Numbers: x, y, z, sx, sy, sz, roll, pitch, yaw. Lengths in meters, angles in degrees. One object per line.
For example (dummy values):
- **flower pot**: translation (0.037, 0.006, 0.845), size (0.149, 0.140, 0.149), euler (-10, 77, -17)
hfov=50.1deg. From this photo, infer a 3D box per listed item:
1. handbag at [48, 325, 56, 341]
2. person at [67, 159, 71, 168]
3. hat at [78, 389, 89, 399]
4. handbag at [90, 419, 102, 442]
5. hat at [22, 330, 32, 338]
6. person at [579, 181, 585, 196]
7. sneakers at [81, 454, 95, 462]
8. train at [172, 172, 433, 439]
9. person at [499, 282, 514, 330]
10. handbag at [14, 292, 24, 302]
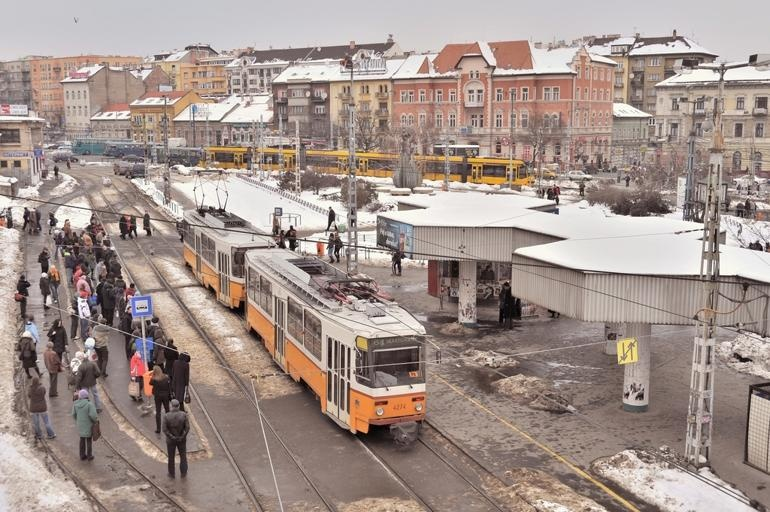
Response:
- **handbag**: translation (-11.481, 2.679, 28.330), size (0.254, 0.601, 0.607), euler (-5, 10, -23)
- **person**: translation (-35.788, -10.228, 92.796), size (0.243, 0.916, 1.208), euler (-7, 11, -33)
- **hat**: translation (-8.985, 4.083, 24.476), size (0.223, 0.300, 0.314), euler (-6, 10, -27)
- **handbag**: translation (-8.678, 5.168, 24.593), size (0.200, 0.680, 0.304), euler (-3, 9, -9)
- **hat**: translation (-12.105, 2.654, 27.776), size (0.266, 0.298, 0.523), euler (-5, 10, -23)
- **person**: translation (16.543, -5.532, 69.075), size (0.245, 1.227, 0.910), euler (2, 10, 19)
- **sneakers**: translation (-8.940, 6.026, 24.694), size (0.478, 0.207, 0.154), euler (-5, 16, -28)
- **train**: translation (-4.174, 1.562, 34.795), size (3.893, 4.520, 21.403), euler (-4, 11, -23)
- **person**: translation (5.513, 2.177, 37.034), size (0.644, 1.887, 1.120), euler (0, 9, 8)
- **handbag**: translation (-14.712, 1.645, 33.026), size (0.270, 0.297, 0.729), euler (-2, 1, -32)
